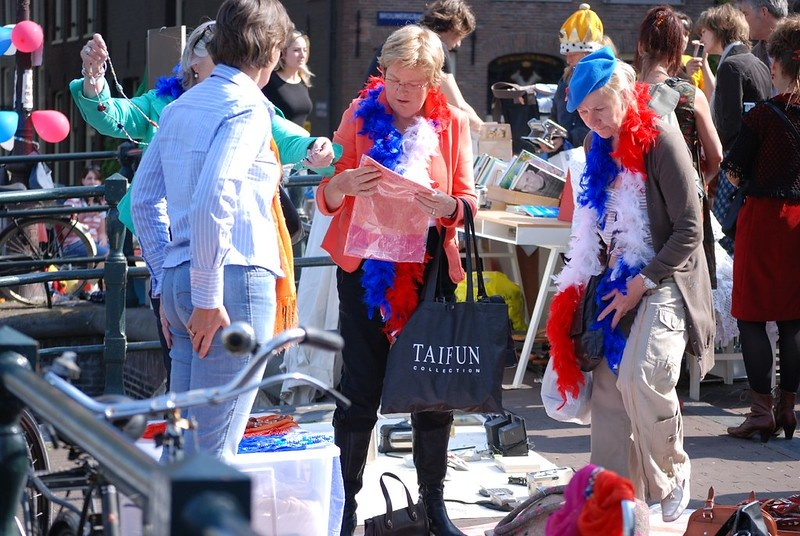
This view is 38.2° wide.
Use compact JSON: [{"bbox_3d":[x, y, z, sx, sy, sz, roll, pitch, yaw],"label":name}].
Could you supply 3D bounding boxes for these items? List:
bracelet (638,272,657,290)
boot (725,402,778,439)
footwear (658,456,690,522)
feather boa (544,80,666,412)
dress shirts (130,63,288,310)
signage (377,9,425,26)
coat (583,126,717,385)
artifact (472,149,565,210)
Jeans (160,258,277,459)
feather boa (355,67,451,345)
[{"bbox_3d":[1.360,0.052,6.316,0.104,0.065,0.104,37,11,12],"label":"bracelet"},{"bbox_3d":[2.437,1.025,7.978,0.151,0.308,0.398,12,-10,-31],"label":"boot"},{"bbox_3d":[1.550,1.230,6.413,0.151,0.387,0.124,8,9,-44],"label":"footwear"},{"bbox_3d":[1.159,-0.080,6.642,0.563,2.047,0.514,-6,12,-11],"label":"feather boa"},{"bbox_3d":[-0.998,-0.413,5.731,0.713,0.986,0.446,1,0,30],"label":"dress shirts"},{"bbox_3d":[-0.048,-4.798,22.148,0.831,0.232,0.314,1,0,-2],"label":"signage"},{"bbox_3d":[1.524,-0.141,6.545,0.379,1.298,0.583,-13,11,-11],"label":"coat"},{"bbox_3d":[1.070,-0.790,9.546,0.886,0.337,0.919,6,23,-8],"label":"artifact"},{"bbox_3d":[-0.910,0.632,5.874,0.500,1.404,0.689,-2,10,-27],"label":"Jeans"},{"bbox_3d":[-0.002,-0.355,6.375,0.563,1.104,0.266,1,0,0],"label":"feather boa"}]
